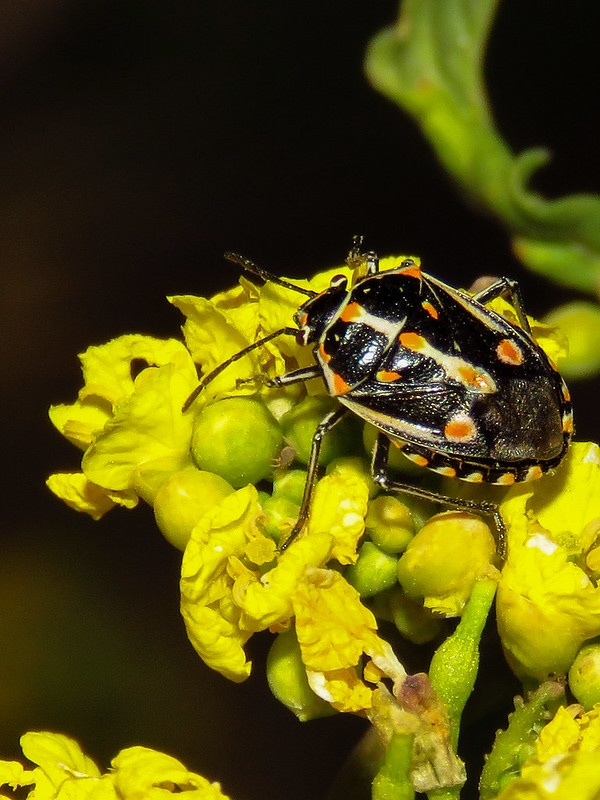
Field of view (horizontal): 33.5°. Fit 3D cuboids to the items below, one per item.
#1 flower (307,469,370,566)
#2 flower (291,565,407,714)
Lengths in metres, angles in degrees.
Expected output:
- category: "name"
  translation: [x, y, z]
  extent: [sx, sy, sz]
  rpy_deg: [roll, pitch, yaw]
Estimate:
- category: "flower"
  translation: [0.052, 0.179, 1.507]
  extent: [0.105, 0.036, 0.132]
  rpy_deg: [12, 80, 8]
- category: "flower"
  translation: [0.057, 0.353, 1.443]
  extent: [0.119, 0.181, 0.170]
  rpy_deg: [-24, 44, -27]
